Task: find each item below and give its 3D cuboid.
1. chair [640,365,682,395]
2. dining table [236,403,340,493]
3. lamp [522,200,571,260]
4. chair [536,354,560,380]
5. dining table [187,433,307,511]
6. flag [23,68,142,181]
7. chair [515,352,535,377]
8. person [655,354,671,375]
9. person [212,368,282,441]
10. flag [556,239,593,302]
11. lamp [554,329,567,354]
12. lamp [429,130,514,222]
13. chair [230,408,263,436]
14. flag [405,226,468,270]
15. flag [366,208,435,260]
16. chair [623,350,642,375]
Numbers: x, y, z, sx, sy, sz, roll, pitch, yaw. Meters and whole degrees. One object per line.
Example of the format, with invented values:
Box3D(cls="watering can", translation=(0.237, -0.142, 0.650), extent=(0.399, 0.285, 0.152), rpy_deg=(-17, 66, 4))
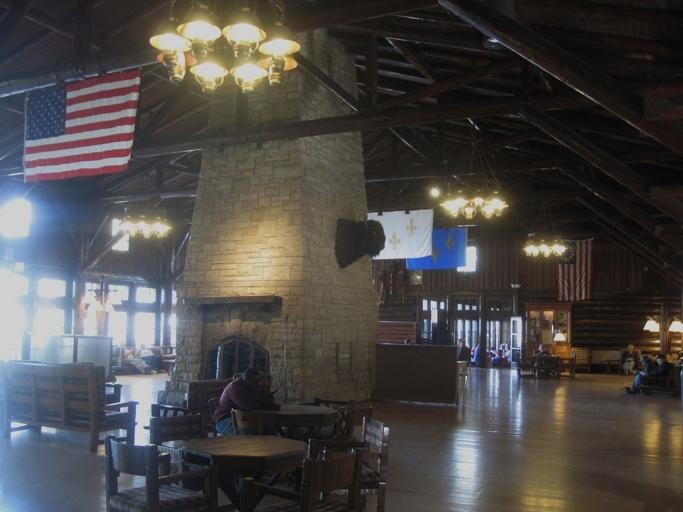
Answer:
Box3D(cls="chair", translation=(8.395, 3.164, 18.699), extent=(0.561, 0.789, 0.996), rpy_deg=(7, -10, -31))
Box3D(cls="dining table", translation=(-0.751, 2.627, 9.996), extent=(1.089, 0.542, 1.115), rpy_deg=(-4, -5, 38))
Box3D(cls="lamp", translation=(6.165, -0.791, 21.746), extent=(1.077, 1.481, 1.112), rpy_deg=(-4, 8, 11))
Box3D(cls="chair", translation=(6.642, 3.506, 23.263), extent=(0.867, 0.753, 0.933), rpy_deg=(0, -9, 9))
Box3D(cls="dining table", translation=(-1.144, 2.579, 8.390), extent=(0.980, 0.476, 0.973), rpy_deg=(0, -3, -10))
Box3D(cls="flag", translation=(-4.254, -2.154, 11.573), extent=(2.305, 1.608, 0.118), rpy_deg=(-7, -14, 20))
Box3D(cls="chair", translation=(6.126, 3.521, 23.904), extent=(0.581, 0.812, 2.342), rpy_deg=(0, -9, 15))
Box3D(cls="person", translation=(8.633, 2.874, 19.342), extent=(0.448, 0.712, 0.471), rpy_deg=(-3, -11, 33))
Box3D(cls="person", translation=(-1.388, 2.085, 10.325), extent=(0.934, 0.956, 0.687), rpy_deg=(-4, -7, 20))
Box3D(cls="flag", translation=(7.624, 0.455, 23.647), extent=(1.492, 1.804, 1.063), rpy_deg=(-5, -11, 36))
Box3D(cls="lamp", translation=(7.690, 2.949, 25.191), extent=(0.517, 0.836, 0.312), rpy_deg=(9, -11, -39))
Box3D(cls="lamp", translation=(2.979, -1.886, 16.283), extent=(1.282, 2.042, 2.330), rpy_deg=(0, -9, 13))
Box3D(cls="chair", translation=(-1.251, 2.187, 9.735), extent=(0.342, 0.535, 0.375), rpy_deg=(1, 1, 14))
Box3D(cls="flag", translation=(2.720, -0.212, 20.785), extent=(1.745, 1.256, 0.047), rpy_deg=(0, -8, 21))
Box3D(cls="flag", translation=(1.480, -0.585, 18.998), extent=(1.971, 1.324, 0.046), rpy_deg=(-3, 8, -17))
Box3D(cls="chair", translation=(10.061, 3.684, 25.414), extent=(0.681, 0.888, 0.788), rpy_deg=(-3, -9, 32))
